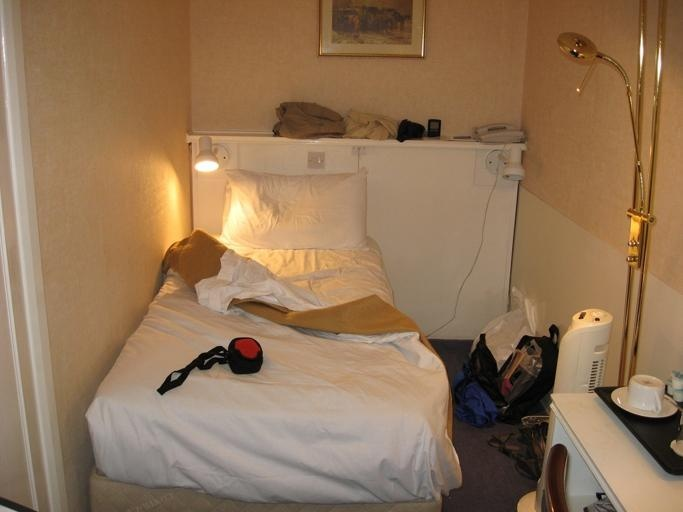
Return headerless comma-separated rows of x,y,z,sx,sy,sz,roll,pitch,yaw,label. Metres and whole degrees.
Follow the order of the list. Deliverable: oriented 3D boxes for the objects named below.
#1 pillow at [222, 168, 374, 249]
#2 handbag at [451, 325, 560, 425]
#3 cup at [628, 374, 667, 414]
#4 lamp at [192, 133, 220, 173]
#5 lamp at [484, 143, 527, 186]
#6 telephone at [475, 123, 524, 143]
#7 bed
-0.303,-0.302,3.515,0.902,0.478,0.302,2,15,-1,pillow
0.900,0.660,3.017,0.444,0.200,0.592,6,48,40,handbag
0.984,0.441,1.785,0.077,0.079,0.126,2,20,5,cup
-0.837,-0.650,3.534,0.198,0.234,0.204,-3,-3,24,lamp
1.074,-0.612,3.620,0.237,0.099,0.243,10,-9,1,lamp
1.043,-0.817,3.676,0.192,0.073,0.197,2,25,2,telephone
-0.252,0.524,2.086,0.903,0.295,0.927,2,18,-1,bed
